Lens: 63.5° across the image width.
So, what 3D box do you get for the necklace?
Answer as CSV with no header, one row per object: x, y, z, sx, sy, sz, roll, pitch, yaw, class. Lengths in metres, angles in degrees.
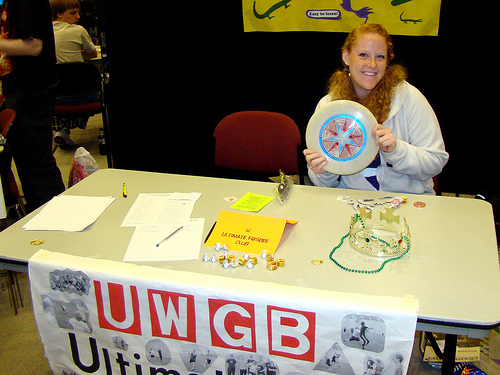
0.465,0.210,1.578,0.349,0.115,0.230,-17,28,-33,necklace

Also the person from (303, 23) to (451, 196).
0.675,-0.322,2.229,0.691,1.079,0.664,-5,18,19,person

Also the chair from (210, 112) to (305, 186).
0.076,-0.337,2.725,0.483,0.688,0.462,3,24,7,chair

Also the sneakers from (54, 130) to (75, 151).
-2.172,-0.545,4.786,0.136,0.157,0.329,-4,-10,3,sneakers
